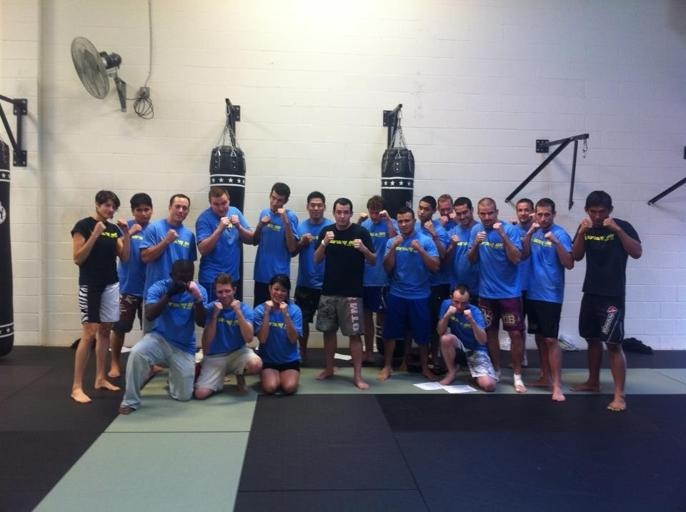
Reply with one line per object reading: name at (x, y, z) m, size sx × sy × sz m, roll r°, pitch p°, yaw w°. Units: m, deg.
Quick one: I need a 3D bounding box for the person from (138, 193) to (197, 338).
person at (-1.722, 0.156, 6.901) m, size 0.613 × 1.529 × 0.446 m, roll 2°, pitch 8°, yaw -31°

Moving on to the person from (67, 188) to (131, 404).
person at (-2.290, 0.435, 6.553) m, size 0.607 × 1.761 × 0.446 m, roll -5°, pitch 9°, yaw -32°

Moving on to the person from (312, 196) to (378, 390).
person at (0.025, 0.340, 6.993) m, size 0.609 × 1.824 × 0.413 m, roll 0°, pitch 8°, yaw -3°

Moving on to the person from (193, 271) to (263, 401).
person at (-1.061, 0.761, 6.668) m, size 0.719 × 1.054 × 0.709 m, roll 2°, pitch 14°, yaw 12°

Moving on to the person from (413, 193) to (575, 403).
person at (1.735, 0.354, 7.129) m, size 0.735 × 1.873 × 0.837 m, roll -3°, pitch 9°, yaw -21°

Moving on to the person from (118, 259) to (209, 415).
person at (-1.644, 0.691, 6.419) m, size 0.806 × 1.338 × 0.491 m, roll -2°, pitch 8°, yaw -16°

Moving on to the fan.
fan at (-2.793, -2.064, 7.886) m, size 0.373 × 0.658 × 0.658 m, roll -28°, pitch 43°, yaw -35°

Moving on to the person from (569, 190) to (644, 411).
person at (2.553, 0.384, 6.683) m, size 0.505 × 2.004 × 0.680 m, roll -3°, pitch 8°, yaw -20°
